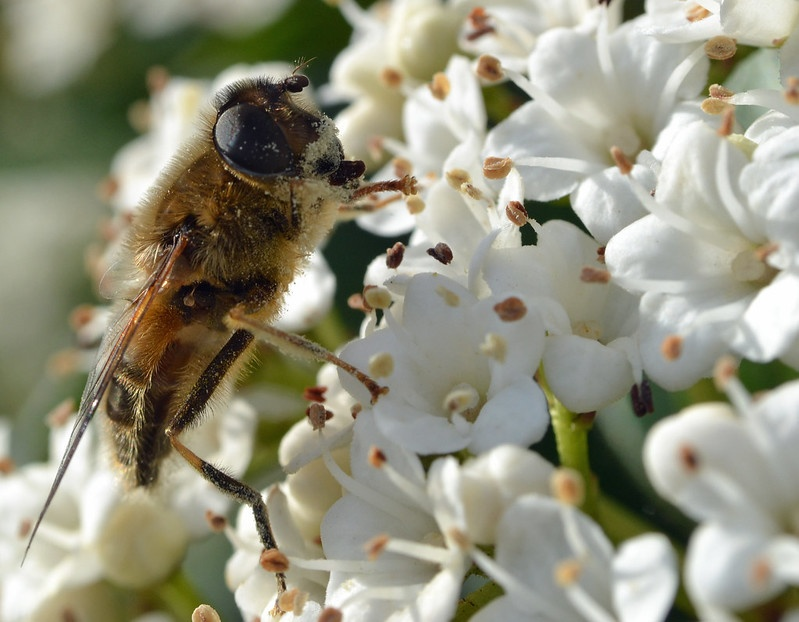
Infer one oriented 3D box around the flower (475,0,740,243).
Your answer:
[{"bbox_3d":[0.322,-0.326,1.730,0.350,0.201,0.406,-24,78,17],"label":"flower"}]
